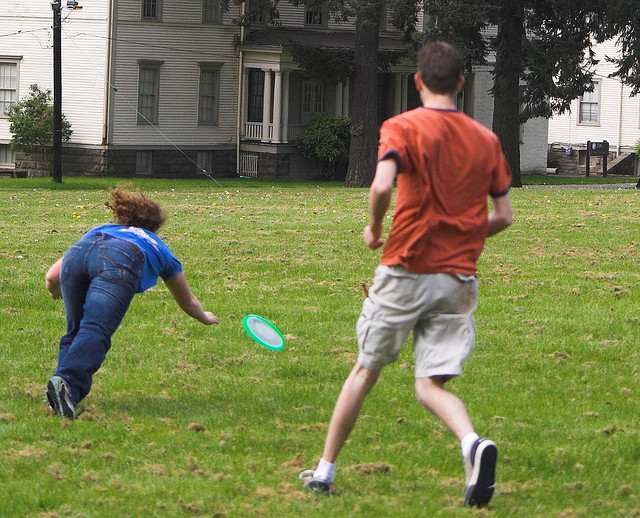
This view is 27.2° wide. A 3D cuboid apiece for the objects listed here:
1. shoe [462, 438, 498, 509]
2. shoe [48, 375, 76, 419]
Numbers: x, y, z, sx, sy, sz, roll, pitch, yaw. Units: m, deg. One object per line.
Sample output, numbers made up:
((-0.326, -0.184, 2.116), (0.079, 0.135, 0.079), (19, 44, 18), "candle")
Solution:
((1.365, 1.819, 11.387), (0.229, 0.661, 0.283), (-5, 17, -22), "shoe")
((-2.441, 1.314, 12.600), (0.181, 0.453, 0.208), (-10, 8, -4), "shoe")
